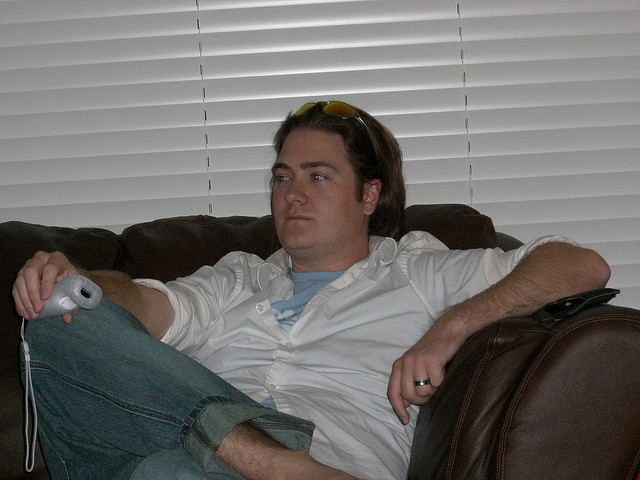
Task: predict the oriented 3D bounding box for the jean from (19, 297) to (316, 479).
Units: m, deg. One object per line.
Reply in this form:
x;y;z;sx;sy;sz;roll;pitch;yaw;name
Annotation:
-0.424;0.361;1.696;0.617;0.249;0.519;19;-38;18;jean

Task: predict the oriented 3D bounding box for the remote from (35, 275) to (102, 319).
-0.628;0.146;1.684;0.104;0.060;0.192;26;2;-23;remote

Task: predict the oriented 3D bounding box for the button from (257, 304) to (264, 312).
-0.189;0.220;2.034;0.018;0.018;0.006;24;1;11;button
